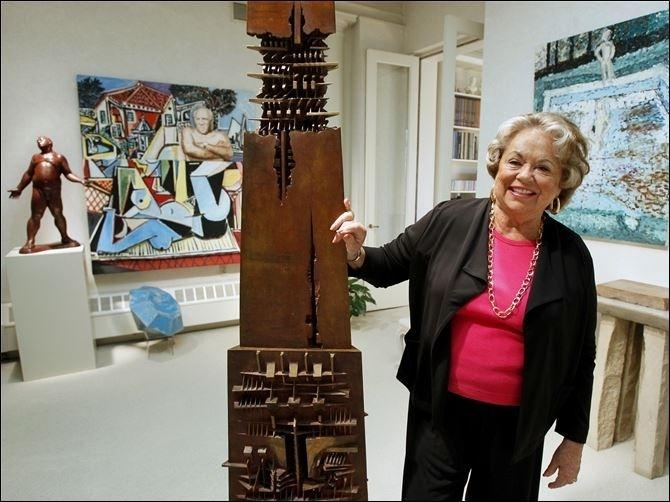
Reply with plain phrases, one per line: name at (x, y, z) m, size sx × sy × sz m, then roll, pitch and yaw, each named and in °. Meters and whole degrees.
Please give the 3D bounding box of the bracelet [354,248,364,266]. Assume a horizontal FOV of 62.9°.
bracelet at (0.120, 0.034, 2.524) m, size 0.062 × 0.018 × 0.065 m, roll -50°, pitch 7°, yaw 38°

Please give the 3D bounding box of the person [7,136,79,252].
person at (-2.201, -0.437, 4.243) m, size 0.508 × 0.856 × 0.259 m, roll -8°, pitch 9°, yaw -30°

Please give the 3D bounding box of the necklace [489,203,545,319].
necklace at (0.782, 0.084, 2.378) m, size 0.225 × 0.397 × 0.198 m, roll 0°, pitch 8°, yaw 21°
